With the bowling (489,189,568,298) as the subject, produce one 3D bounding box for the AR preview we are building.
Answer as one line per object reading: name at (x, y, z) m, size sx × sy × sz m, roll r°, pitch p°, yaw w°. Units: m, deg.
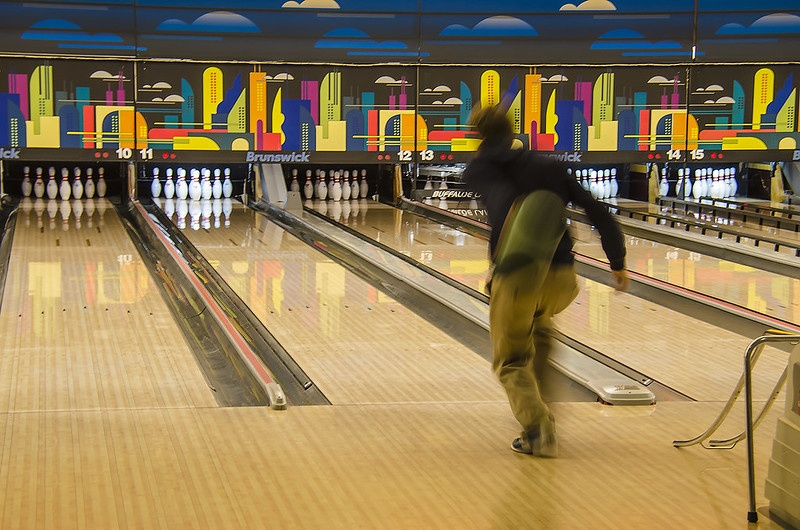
bowling at (0.423, -0.073, 1.879) m, size 0.186 × 0.326 × 0.257 m, roll 11°, pitch -22°, yaw 44°
